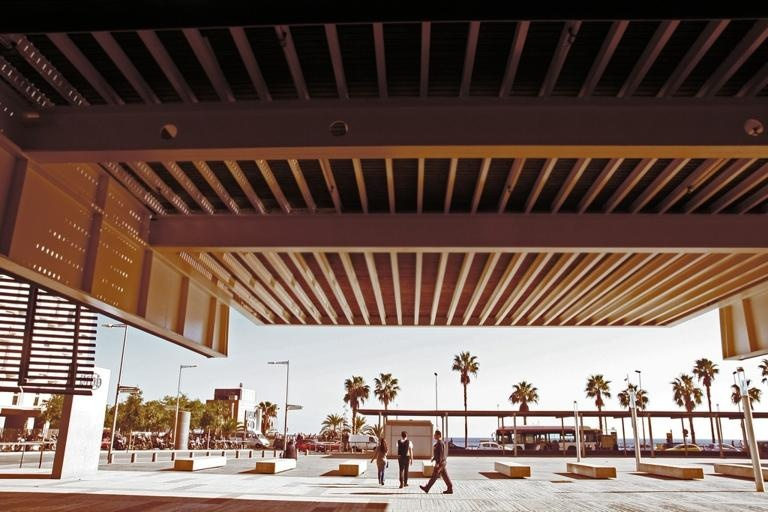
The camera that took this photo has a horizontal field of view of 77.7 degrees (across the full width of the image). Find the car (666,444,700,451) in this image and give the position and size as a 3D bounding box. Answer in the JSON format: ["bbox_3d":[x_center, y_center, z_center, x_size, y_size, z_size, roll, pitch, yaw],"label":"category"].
[{"bbox_3d":[29.104,19.113,46.825,2.506,0.783,7.069,-15,-25,30],"label":"car"}]
